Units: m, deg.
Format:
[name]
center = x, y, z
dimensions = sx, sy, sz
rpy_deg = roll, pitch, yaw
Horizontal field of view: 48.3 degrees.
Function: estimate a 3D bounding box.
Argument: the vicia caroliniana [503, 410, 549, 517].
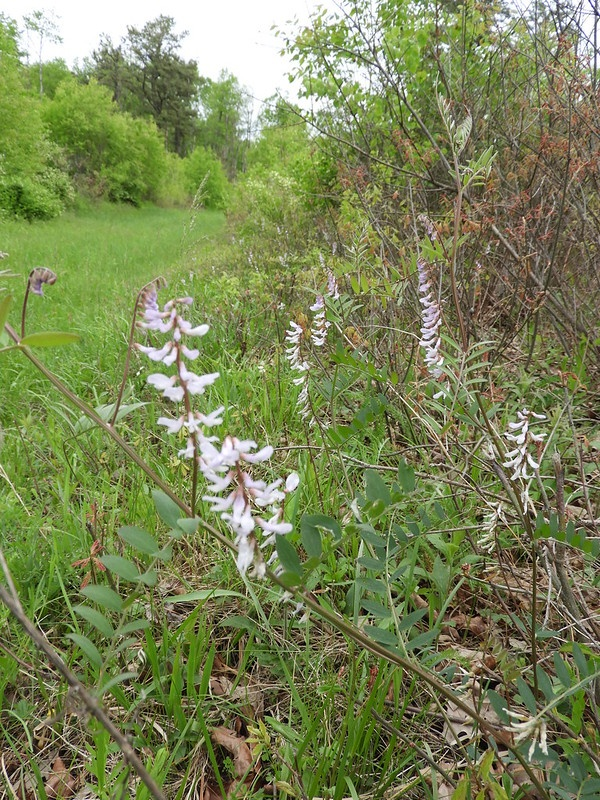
[vicia caroliniana]
center = 0.657, 0.195, 1.948
dimensions = 0.168, 0.381, 0.117
rpy_deg = -19, 48, 6
